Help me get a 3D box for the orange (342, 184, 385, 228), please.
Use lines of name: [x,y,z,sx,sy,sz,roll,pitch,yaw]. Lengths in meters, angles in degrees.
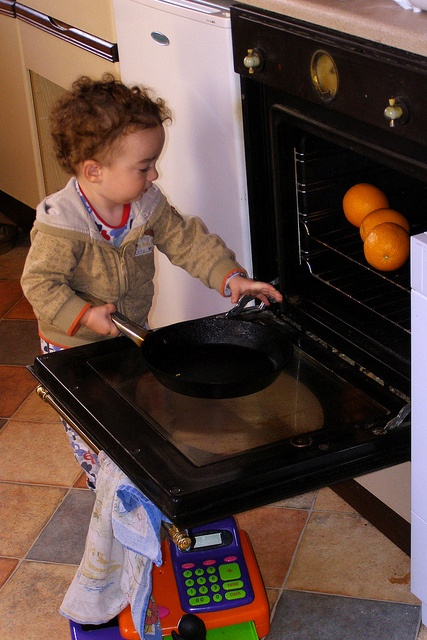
orange: [0.265,-0.223,1.055,0.071,0.078,0.067,3,2,-12]
